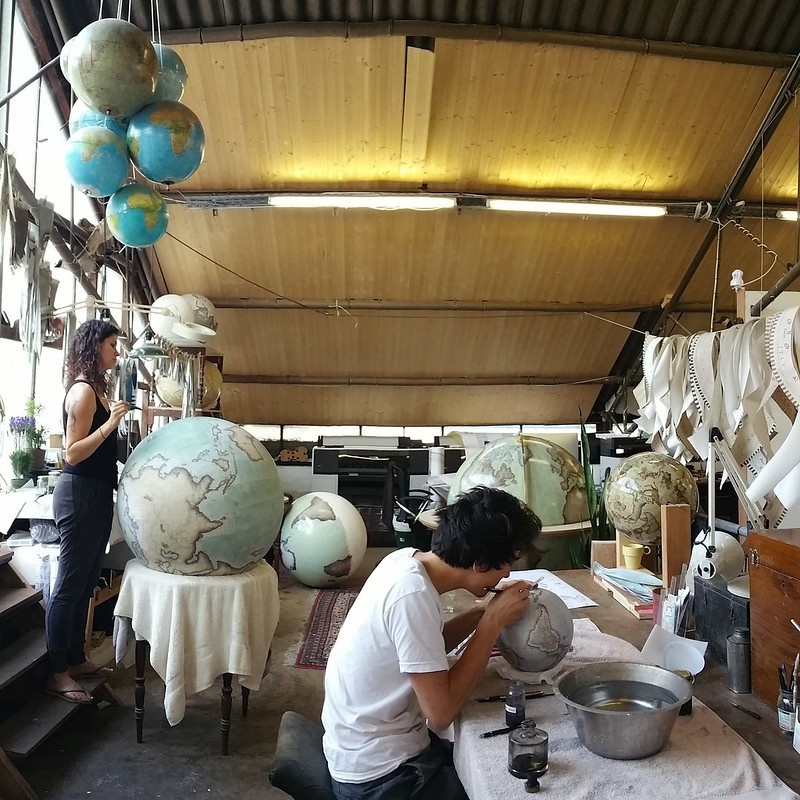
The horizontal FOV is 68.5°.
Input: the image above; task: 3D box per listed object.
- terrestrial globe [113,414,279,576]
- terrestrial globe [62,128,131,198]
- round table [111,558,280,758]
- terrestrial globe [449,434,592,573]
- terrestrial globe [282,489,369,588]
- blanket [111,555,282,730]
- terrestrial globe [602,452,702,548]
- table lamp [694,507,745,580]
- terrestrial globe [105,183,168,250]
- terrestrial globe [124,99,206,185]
[{"bbox_3d":[-0.754,0.379,2.432,0.542,0.536,0.593,6,-14,4],"label":"terrestrial globe"},{"bbox_3d":[-1.348,-1.072,2.623,0.270,0.332,0.243,2,-1,37],"label":"terrestrial globe"},{"bbox_3d":[-0.869,1.009,2.558,0.643,0.692,0.695,1,-1,0],"label":"round table"},{"bbox_3d":[0.740,0.563,3.680,0.697,0.885,0.834,-1,-2,-1],"label":"terrestrial globe"},{"bbox_3d":[-0.638,1.135,4.987,0.653,0.865,0.700,3,2,42],"label":"terrestrial globe"},{"bbox_3d":[-0.865,0.804,2.436,0.617,0.523,0.617,4,0,-38],"label":"blanket"},{"bbox_3d":[0.907,0.365,2.197,0.305,0.371,0.325,10,-18,2],"label":"terrestrial globe"},{"bbox_3d":[0.883,0.402,1.630,0.108,0.172,0.181,2,2,33],"label":"table lamp"},{"bbox_3d":[-1.302,-0.935,2.921,0.226,0.344,0.243,3,-1,13],"label":"terrestrial globe"},{"bbox_3d":[-1.058,-1.161,2.609,0.333,0.380,0.237,3,-1,-10],"label":"terrestrial globe"}]
